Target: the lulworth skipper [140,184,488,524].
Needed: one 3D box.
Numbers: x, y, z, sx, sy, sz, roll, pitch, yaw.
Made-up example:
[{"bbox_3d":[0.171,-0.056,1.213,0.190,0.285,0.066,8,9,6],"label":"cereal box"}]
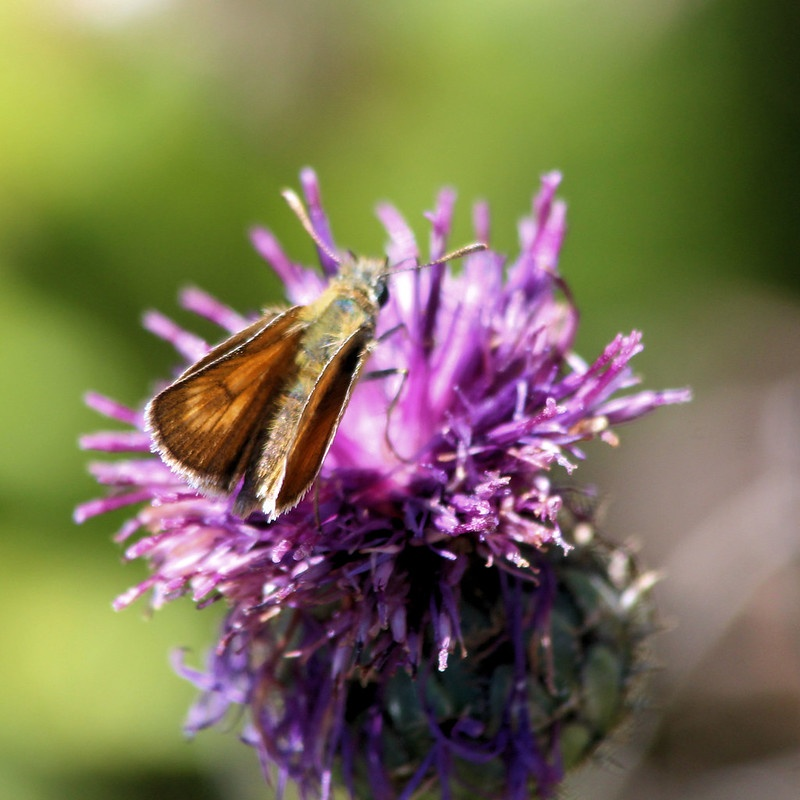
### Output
[{"bbox_3d":[-0.104,-0.023,0.883,0.217,0.370,0.159,11,43,-34],"label":"lulworth skipper"}]
